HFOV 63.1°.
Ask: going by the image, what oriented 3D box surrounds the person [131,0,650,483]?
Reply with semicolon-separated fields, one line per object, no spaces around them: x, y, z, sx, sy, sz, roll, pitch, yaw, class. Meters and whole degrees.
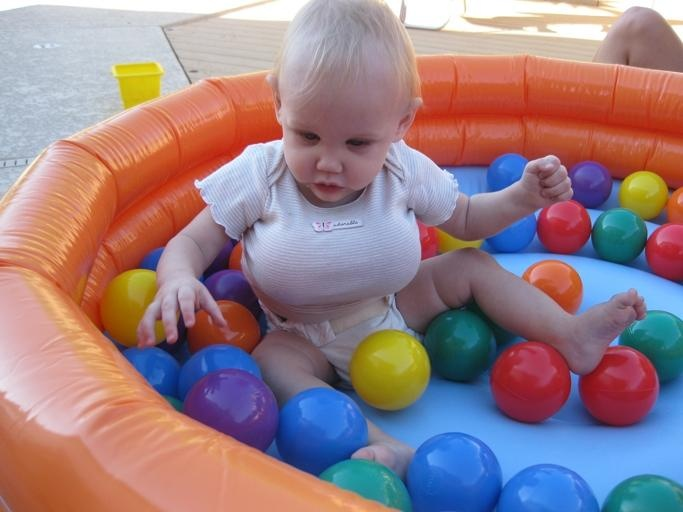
0.101;0.052;1.529;1.258;1.135;0.939;-21;38;-25;person
